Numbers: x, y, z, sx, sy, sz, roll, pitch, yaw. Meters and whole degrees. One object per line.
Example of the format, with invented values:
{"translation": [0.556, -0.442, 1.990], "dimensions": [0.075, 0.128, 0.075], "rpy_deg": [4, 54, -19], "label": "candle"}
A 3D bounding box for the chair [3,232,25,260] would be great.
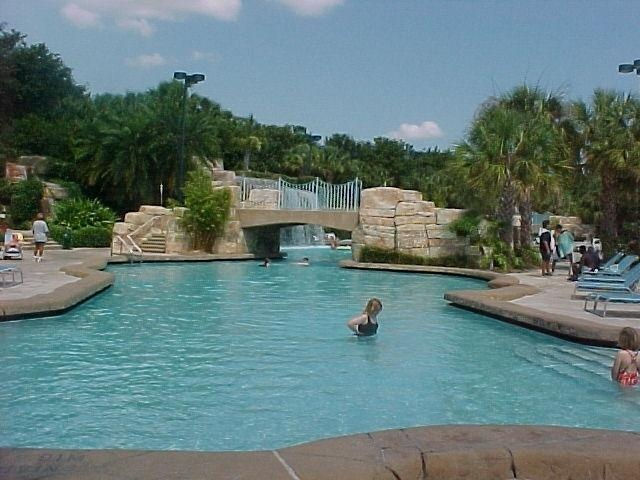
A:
{"translation": [-12.309, 0.228, 25.468], "dimensions": [0.636, 1.157, 2.205], "rpy_deg": [2, -3, -28], "label": "chair"}

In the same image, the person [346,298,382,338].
{"translation": [1.122, 1.645, 14.492], "dimensions": [0.569, 1.011, 0.720], "rpy_deg": [15, 20, 30], "label": "person"}
